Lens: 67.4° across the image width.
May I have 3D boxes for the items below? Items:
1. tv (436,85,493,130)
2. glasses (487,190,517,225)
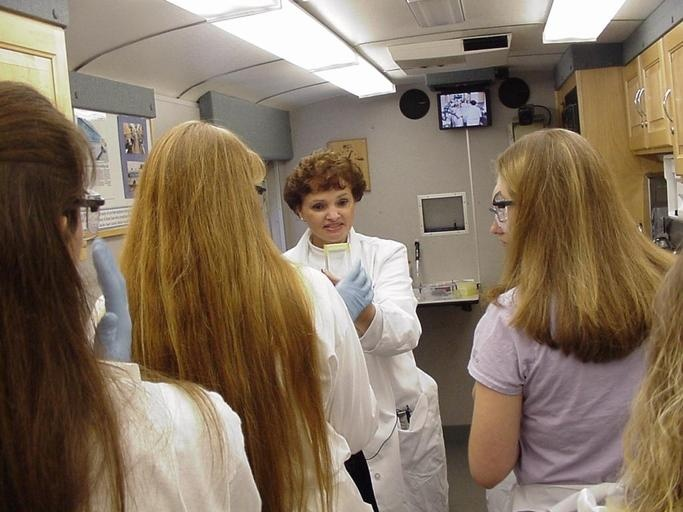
[{"bbox_3d":[1.060,-1.278,4.431,0.440,0.321,0.184,0,4,14],"label":"tv"},{"bbox_3d":[0.493,-0.158,1.560,0.096,0.112,0.035,-6,-6,19],"label":"glasses"}]
